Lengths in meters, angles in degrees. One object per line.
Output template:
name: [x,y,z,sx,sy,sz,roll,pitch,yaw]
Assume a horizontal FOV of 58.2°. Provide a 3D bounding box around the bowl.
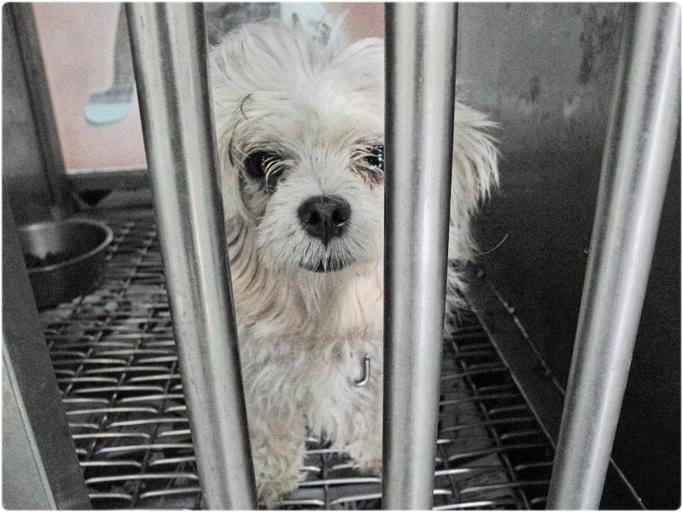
bowl: [-0.356,-0.002,0.793,0.129,0.052,0.123,2,21,-1]
